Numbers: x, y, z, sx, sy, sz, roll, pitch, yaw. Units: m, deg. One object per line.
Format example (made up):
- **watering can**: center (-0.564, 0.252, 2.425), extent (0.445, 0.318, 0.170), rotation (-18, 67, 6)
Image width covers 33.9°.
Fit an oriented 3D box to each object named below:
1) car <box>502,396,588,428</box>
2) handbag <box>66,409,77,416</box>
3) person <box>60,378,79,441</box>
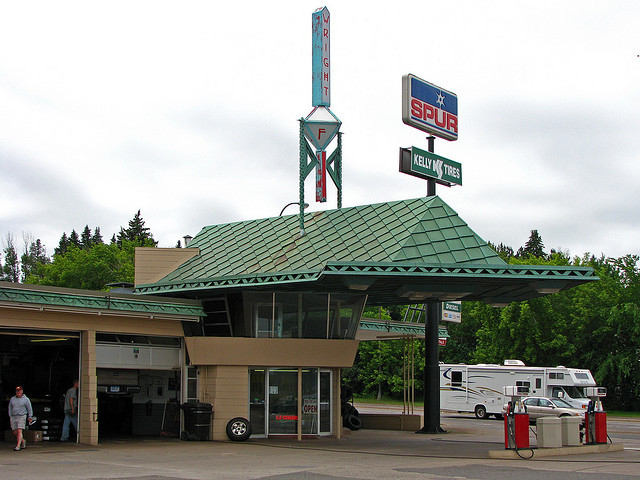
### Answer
- **car**: center (11.981, 8.937, 54.983), extent (2.210, 1.479, 4.112), rotation (5, -10, -21)
- **handbag**: center (-9.845, 6.914, 41.927), extent (0.247, 0.224, 0.320), rotation (2, 8, 41)
- **person**: center (-9.966, 6.863, 42.185), extent (0.604, 2.441, 1.291), rotation (3, -11, -13)
